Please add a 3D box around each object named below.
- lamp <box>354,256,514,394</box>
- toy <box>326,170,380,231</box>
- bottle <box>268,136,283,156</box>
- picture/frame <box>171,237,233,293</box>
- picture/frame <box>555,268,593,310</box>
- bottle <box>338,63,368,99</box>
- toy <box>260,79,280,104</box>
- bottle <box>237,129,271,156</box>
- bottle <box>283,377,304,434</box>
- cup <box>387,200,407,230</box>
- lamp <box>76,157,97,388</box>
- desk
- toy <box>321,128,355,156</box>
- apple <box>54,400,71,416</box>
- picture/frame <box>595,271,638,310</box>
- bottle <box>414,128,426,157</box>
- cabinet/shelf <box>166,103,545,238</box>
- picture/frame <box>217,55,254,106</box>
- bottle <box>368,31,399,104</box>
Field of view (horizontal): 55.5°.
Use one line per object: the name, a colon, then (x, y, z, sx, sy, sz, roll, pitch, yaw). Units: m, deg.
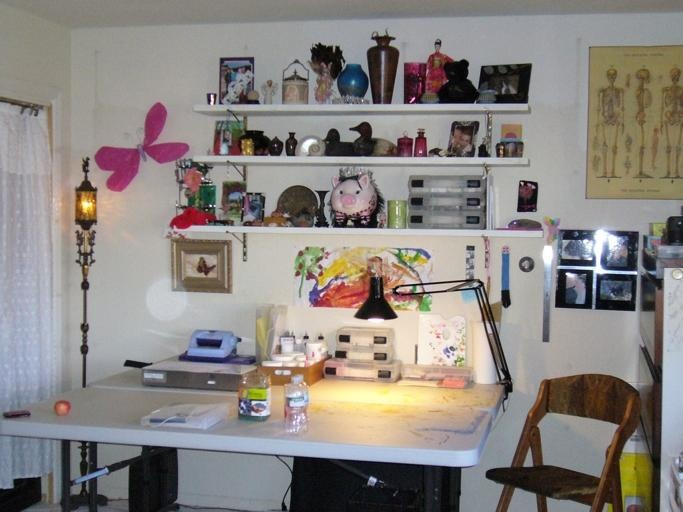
lamp: (0.559, 0.431, 3.814, 0.888, 0.777, 0.232, 2, 26, 9)
toy: (0.069, -0.347, 3.850, 0.248, 0.280, 0.333, -1, 0, 8)
bottle: (-0.411, -0.687, 4.072, 0.097, 0.129, 0.101, 0, -4, 0)
picture/frame: (-0.911, 0.049, 4.341, 0.330, 0.318, 0.036, 2, 4, 6)
picture/frame: (1.435, 0.201, 3.997, 0.226, 0.284, 0.027, 1, -1, 8)
bottle: (0.069, -1.049, 3.937, 0.185, 0.237, 0.193, 0, 7, 0)
toy: (-0.454, -1.051, 4.143, 0.121, 0.213, 0.254, -1, 1, -7)
bottle: (-0.545, -0.712, 4.062, 0.150, 0.164, 0.168, 3, 10, 10)
bottle: (-0.216, 0.696, 3.067, 0.104, 0.249, 0.157, -1, 1, -11)
cup: (0.341, -0.254, 3.948, 0.124, 0.180, 0.137, -1, 1, 4)
lamp: (-1.711, 0.108, 4.394, 0.148, 1.571, 0.326, -1, 1, -23)
desk: (-0.331, 0.974, 3.402, 2.303, 0.501, 1.107, -1, 1, 12)
toy: (-0.020, -0.706, 3.989, 0.188, 0.148, 0.129, 4, 3, 12)
apple: (-1.371, 0.765, 3.234, 0.064, 0.069, 0.068, 9, -9, 0)
picture/frame: (1.676, 0.211, 3.949, 0.211, 0.225, 0.022, 0, 2, 10)
bottle: (0.478, -0.687, 3.940, 0.077, 0.175, 0.079, -1, 1, 0)
cabinet/shelf: (0.114, -0.558, 4.050, 2.085, 0.808, 0.300, -1, 1, 7)
picture/frame: (-0.674, -1.112, 4.175, 0.228, 0.340, 0.027, 1, -11, -2)
bottle: (0.251, -1.135, 3.936, 0.186, 0.415, 0.167, 0, 1, 12)
